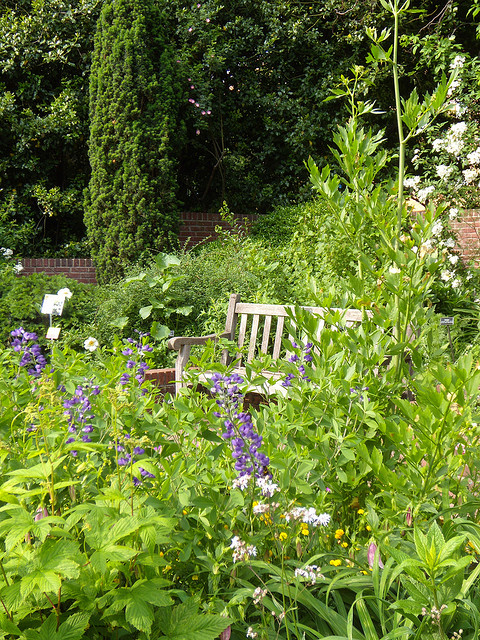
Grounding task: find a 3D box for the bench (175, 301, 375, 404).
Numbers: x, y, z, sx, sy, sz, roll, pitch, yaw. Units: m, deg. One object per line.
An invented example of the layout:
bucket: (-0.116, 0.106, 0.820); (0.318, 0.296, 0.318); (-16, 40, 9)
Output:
bench: (0.160, 0.185, 2.298); (0.335, 0.471, 0.873); (-11, 11, -42)
